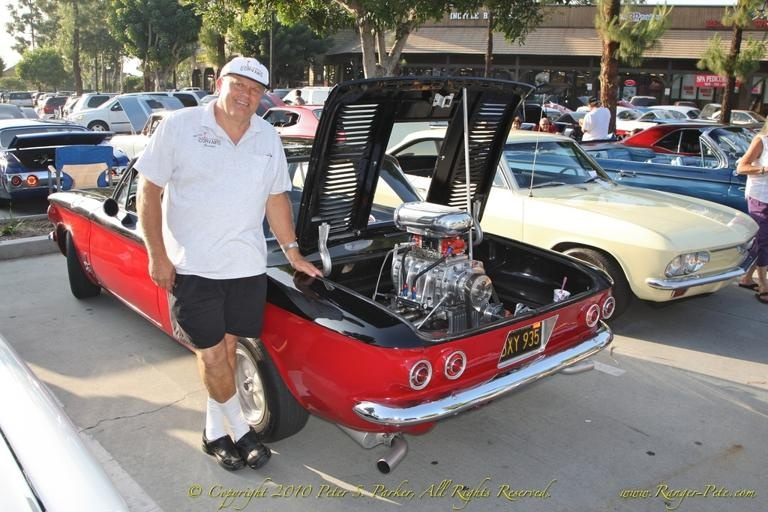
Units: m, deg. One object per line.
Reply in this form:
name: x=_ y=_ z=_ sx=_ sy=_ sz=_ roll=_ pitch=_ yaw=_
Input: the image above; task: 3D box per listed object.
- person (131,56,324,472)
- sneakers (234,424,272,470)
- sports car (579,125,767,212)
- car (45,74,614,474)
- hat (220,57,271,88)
person: x=-0.971 y=0.114 z=3.361 sx=0.977 sy=2.665 sz=0.635 roll=-10 pitch=22 yaw=-24
sneakers: x=-0.936 y=1.323 z=3.591 sx=0.172 sy=0.126 sz=0.318 roll=-28 pitch=22 yaw=-27
sports car: x=4.515 y=-1.563 z=8.701 sx=1.291 sy=1.525 sz=2.804 roll=-6 pitch=16 yaw=-27
car: x=-0.817 y=-0.250 z=4.474 sx=4.572 sy=1.872 sz=2.449 roll=20 pitch=22 yaw=36
hat: x=-0.835 y=-1.116 z=3.197 sx=0.226 sy=0.121 sz=0.282 roll=21 pitch=2 yaw=11
